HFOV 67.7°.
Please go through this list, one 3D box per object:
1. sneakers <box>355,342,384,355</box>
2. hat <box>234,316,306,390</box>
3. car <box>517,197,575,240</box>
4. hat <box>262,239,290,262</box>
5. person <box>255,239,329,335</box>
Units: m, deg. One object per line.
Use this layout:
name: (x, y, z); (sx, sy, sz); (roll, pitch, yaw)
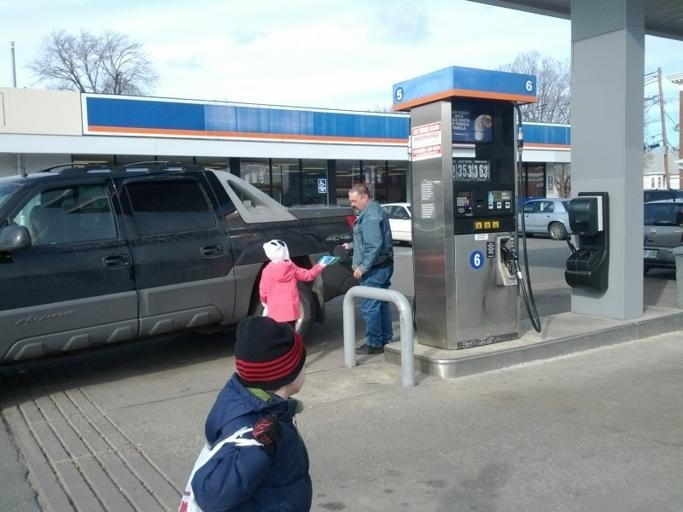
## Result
sneakers: (0.363, 1.181, 6.616); (0.277, 0.120, 0.147); (5, -1, 0)
hat: (-0.293, 0.354, 2.064); (0.252, 0.256, 0.340); (-5, 6, 17)
car: (7.590, -1.382, 18.860); (1.609, 1.198, 3.329); (-8, 11, -37)
hat: (-0.742, -0.075, 5.861); (0.295, 0.267, 0.221); (-29, 20, -33)
person: (-0.576, 0.477, 5.961); (0.760, 1.334, 0.440); (-2, 14, -7)
